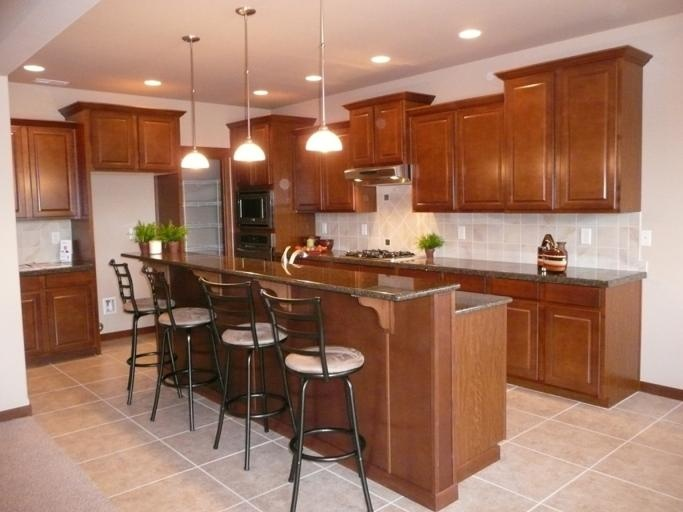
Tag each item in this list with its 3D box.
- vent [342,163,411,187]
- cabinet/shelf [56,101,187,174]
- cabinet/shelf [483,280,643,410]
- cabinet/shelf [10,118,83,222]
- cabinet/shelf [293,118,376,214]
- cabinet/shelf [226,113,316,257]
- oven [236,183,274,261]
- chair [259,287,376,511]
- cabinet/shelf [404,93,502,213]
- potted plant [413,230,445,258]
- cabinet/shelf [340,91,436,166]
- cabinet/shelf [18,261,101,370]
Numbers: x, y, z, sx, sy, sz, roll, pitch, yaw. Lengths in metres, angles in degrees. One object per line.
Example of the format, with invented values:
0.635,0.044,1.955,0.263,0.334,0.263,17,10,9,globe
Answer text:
0.428,-0.914,6.104,0.414,0.234,0.910,-8,12,-30,vent
-2.429,-1.397,6.530,1.334,0.761,0.447,4,14,3,cabinet/shelf
2.070,0.703,4.989,0.747,1.029,1.158,-3,3,-39,cabinet/shelf
-3.212,-0.935,5.890,0.712,1.065,0.183,-7,13,-24,cabinet/shelf
-0.097,-1.049,6.956,0.476,1.091,1.266,-6,8,-43,cabinet/shelf
-1.033,-0.822,7.401,0.566,1.809,1.078,-1,-1,-39,cabinet/shelf
-1.095,-0.369,7.331,0.775,1.017,0.386,3,9,39,oven
-0.167,0.855,3.556,0.647,1.315,0.971,-3,11,-8,chair
1.093,-0.993,5.648,1.214,1.088,0.438,-9,14,-21,cabinet/shelf
0.976,-0.113,5.972,0.290,0.282,0.293,-3,5,-40,potted plant
0.567,-1.395,6.249,0.543,0.785,0.983,-10,10,-44,cabinet/shelf
-3.054,0.658,5.787,1.191,1.064,0.634,-3,2,-44,cabinet/shelf
